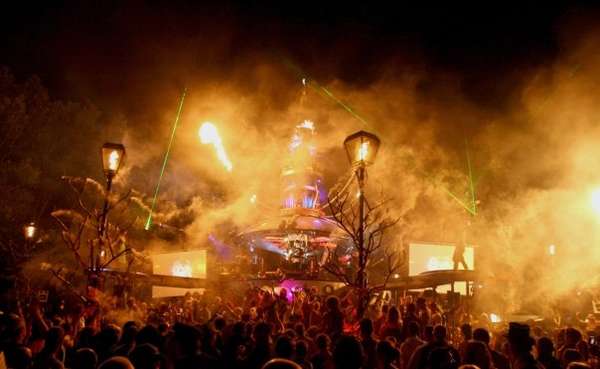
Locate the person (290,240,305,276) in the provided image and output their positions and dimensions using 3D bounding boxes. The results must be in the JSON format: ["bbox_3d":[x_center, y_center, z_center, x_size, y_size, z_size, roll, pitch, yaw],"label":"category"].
[{"bbox_3d":[-0.318,6.515,52.173,1.233,2.669,0.694,5,-15,-2],"label":"person"}]
